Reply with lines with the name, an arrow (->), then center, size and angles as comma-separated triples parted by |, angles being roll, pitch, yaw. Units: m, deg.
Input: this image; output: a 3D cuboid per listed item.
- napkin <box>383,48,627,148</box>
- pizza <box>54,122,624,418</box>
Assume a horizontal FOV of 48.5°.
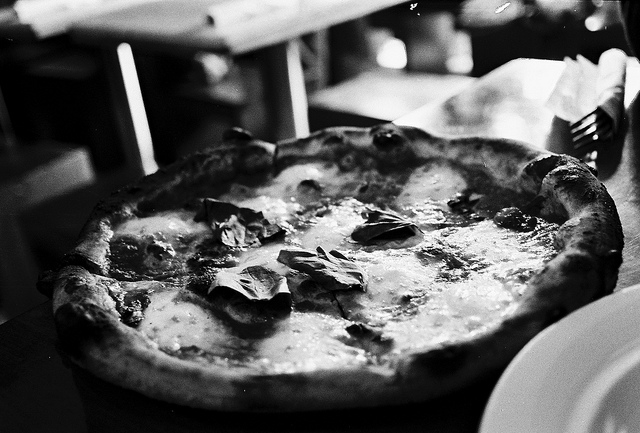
napkin -> 0.379, -0.282, 1.437 | 0.597, 0.129, 0.355 | 4, 17, 1
pizza -> 0.022, 0.036, 0.930 | 0.718, 0.112, 0.525 | -17, 34, -22
